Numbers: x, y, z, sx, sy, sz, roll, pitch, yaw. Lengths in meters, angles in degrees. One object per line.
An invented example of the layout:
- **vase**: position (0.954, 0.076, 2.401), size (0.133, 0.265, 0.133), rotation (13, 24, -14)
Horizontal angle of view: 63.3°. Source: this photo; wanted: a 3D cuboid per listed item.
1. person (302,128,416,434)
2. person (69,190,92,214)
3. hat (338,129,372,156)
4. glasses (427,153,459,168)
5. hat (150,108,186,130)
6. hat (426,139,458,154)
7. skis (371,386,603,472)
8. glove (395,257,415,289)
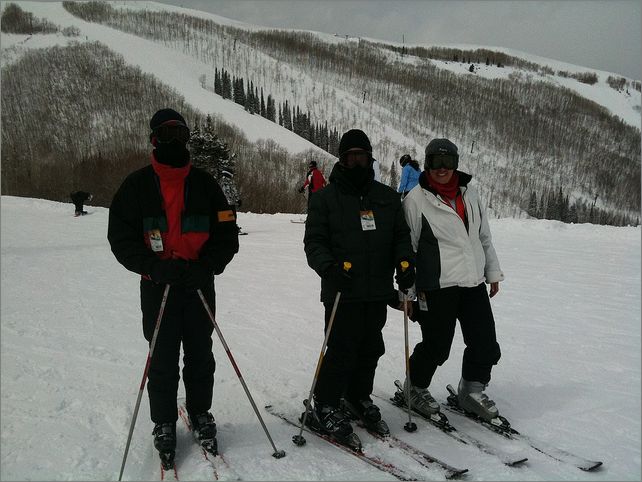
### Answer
- **person**: position (0.331, 0.389, 4.824), size (1.018, 2.777, 0.654), rotation (3, 10, -2)
- **person**: position (-8.144, -1.361, 17.491), size (0.785, 1.009, 0.748), rotation (-6, 15, -29)
- **hat**: position (0.303, -0.933, 4.831), size (0.236, 0.211, 0.254), rotation (-1, 7, 5)
- **glasses**: position (1.197, -0.777, 5.099), size (0.330, 0.164, 0.194), rotation (5, 11, 1)
- **hat**: position (-1.360, -1.085, 4.550), size (0.187, 0.149, 0.252), rotation (-4, 16, -15)
- **hat**: position (1.183, -0.926, 5.102), size (0.293, 0.171, 0.313), rotation (9, 12, 25)
- **skis**: position (1.546, 1.805, 4.909), size (1.923, 0.103, 0.212), rotation (14, 19, 37)
- **glove**: position (0.782, 0.315, 4.802), size (0.190, 0.341, 0.224), rotation (4, 10, 2)
